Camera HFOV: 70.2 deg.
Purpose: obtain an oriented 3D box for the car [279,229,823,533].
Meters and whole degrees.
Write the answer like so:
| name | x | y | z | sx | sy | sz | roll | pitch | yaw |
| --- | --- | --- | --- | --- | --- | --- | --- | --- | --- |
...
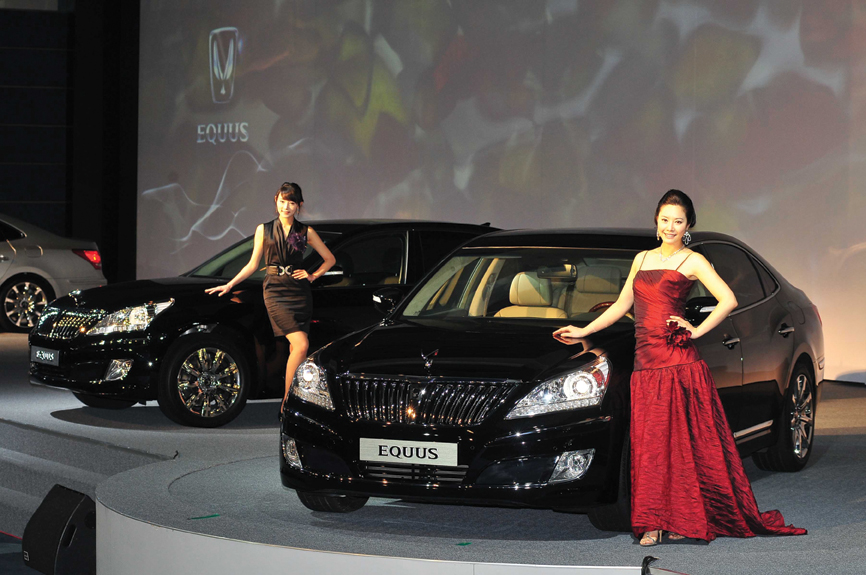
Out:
| name | x | y | z | sx | sy | sz | roll | pitch | yaw |
| --- | --- | --- | --- | --- | --- | --- | --- | --- | --- |
| car | 0.970 | 0.521 | 4.022 | 1.740 | 1.329 | 3.132 | 0 | -3 | 33 |

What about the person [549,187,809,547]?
| name | x | y | z | sx | sy | sz | roll | pitch | yaw |
| --- | --- | --- | --- | --- | --- | --- | --- | --- | --- |
| person | 1.254 | 0.381 | 3.107 | 0.732 | 1.705 | 0.413 | 1 | -3 | -13 |

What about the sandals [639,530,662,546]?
| name | x | y | z | sx | sy | sz | roll | pitch | yaw |
| --- | --- | --- | --- | --- | --- | --- | --- | --- | --- |
| sandals | 1.013 | 1.178 | 2.881 | 0.048 | 0.055 | 0.142 | -7 | -10 | 43 |
